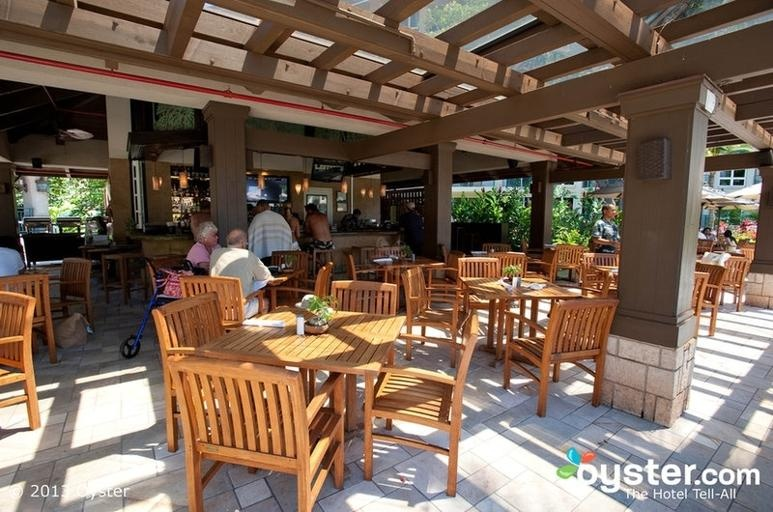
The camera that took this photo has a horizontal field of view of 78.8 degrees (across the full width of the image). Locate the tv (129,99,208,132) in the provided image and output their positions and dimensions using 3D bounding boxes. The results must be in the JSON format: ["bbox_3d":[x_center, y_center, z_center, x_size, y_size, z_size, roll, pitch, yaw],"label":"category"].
[{"bbox_3d":[-4.845,-3.083,10.206,1.884,0.732,0.344,4,9,32],"label":"tv"}]

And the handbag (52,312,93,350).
[{"bbox_3d":[-4.285,1.038,6.448,0.235,0.283,0.402,-15,7,-10],"label":"handbag"}]

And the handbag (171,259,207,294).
[{"bbox_3d":[-2.590,0.250,5.980,0.427,0.525,0.191,-4,-1,-8],"label":"handbag"}]

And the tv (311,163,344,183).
[{"bbox_3d":[-1.590,-2.289,12.763,1.153,0.739,0.120,1,27,-11],"label":"tv"}]

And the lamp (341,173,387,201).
[{"bbox_3d":[-0.794,-2.193,15.173,0.686,0.911,1.661,5,9,33],"label":"lamp"}]

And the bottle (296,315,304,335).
[{"bbox_3d":[-0.821,0.667,4.538,0.075,0.180,0.069,0,8,0],"label":"bottle"}]

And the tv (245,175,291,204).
[{"bbox_3d":[-3.276,-1.848,12.854,1.680,0.925,0.211,-1,12,-23],"label":"tv"}]

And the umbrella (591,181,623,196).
[{"bbox_3d":[6.108,-1.819,13.031,0.701,0.323,1.844,3,8,23],"label":"umbrella"}]
